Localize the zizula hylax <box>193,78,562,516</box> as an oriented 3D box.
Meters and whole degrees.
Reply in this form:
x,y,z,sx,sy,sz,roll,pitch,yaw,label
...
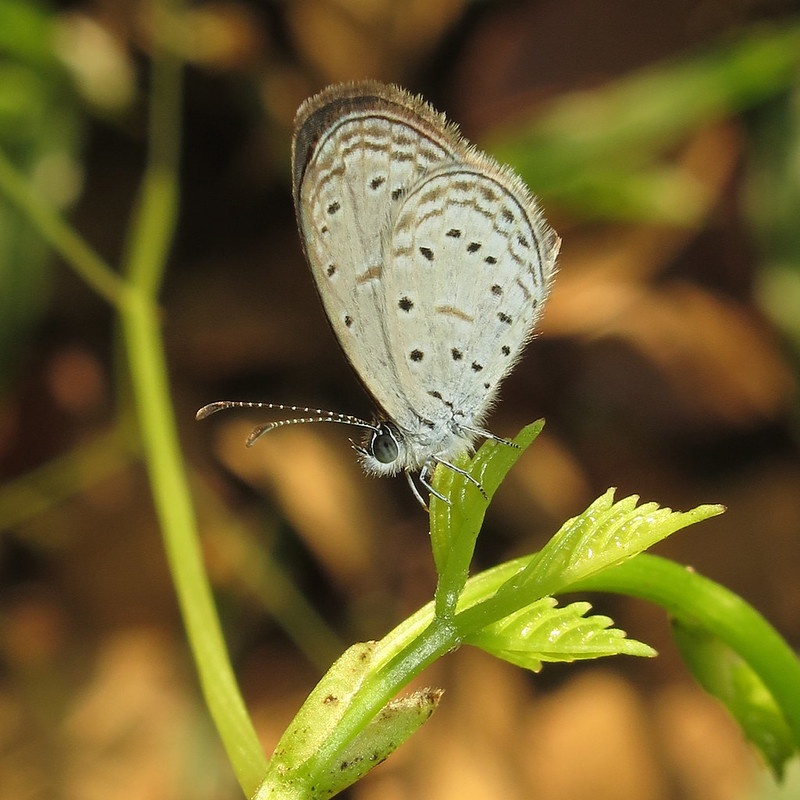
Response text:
x,y,z,sx,sy,sz,roll,pitch,yaw,label
0.013,-0.064,0.883,0.274,0.258,0.382,-23,29,35,zizula hylax
